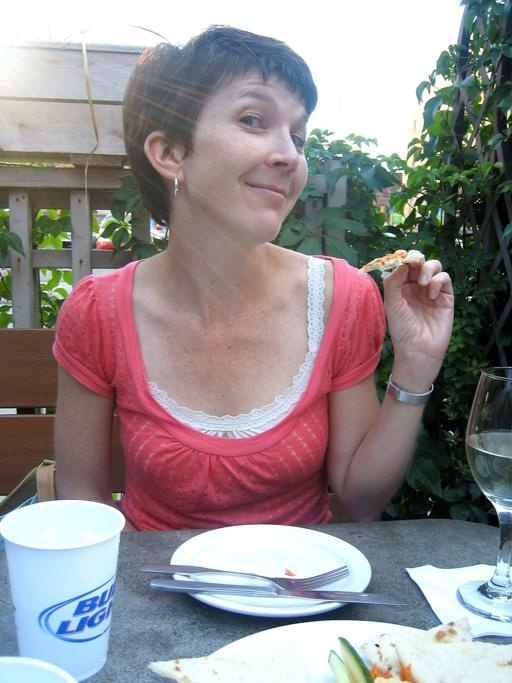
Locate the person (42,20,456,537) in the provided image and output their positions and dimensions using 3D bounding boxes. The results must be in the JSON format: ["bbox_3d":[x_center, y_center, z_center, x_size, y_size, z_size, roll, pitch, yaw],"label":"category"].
[{"bbox_3d":[-0.028,-0.101,1.493,0.952,1.196,0.438,5,7,15],"label":"person"}]

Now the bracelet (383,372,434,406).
[{"bbox_3d":[0.330,0.101,1.335,0.077,0.026,0.071,9,13,-5],"label":"bracelet"}]

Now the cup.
[{"bbox_3d":[-0.211,0.278,0.676,0.129,0.178,0.119,3,7,0],"label":"cup"}]
